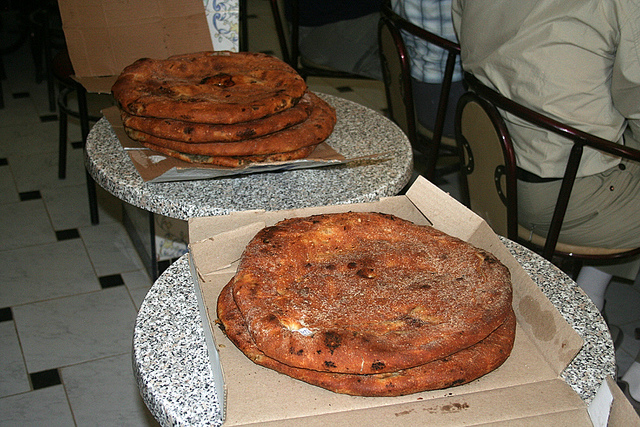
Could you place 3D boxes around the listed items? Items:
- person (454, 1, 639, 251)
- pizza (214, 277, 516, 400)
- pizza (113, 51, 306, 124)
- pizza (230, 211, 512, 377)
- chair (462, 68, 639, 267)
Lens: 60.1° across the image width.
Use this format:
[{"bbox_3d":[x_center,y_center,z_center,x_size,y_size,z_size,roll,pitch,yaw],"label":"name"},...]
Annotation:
[{"bbox_3d":[0.776,-0.297,1.845,0.459,0.727,0.478,-28,48,-22],"label":"person"},{"bbox_3d":[0.085,0.270,1.151,0.648,0.081,0.217,3,43,5],"label":"pizza"},{"bbox_3d":[-0.337,-0.372,1.635,0.369,0.051,0.340,-3,29,-8],"label":"pizza"},{"bbox_3d":[0.104,0.172,1.181,0.382,0.044,0.397,-4,32,-13],"label":"pizza"},{"bbox_3d":[0.788,-0.164,1.846,0.365,0.527,0.414,-27,43,-9],"label":"chair"}]
